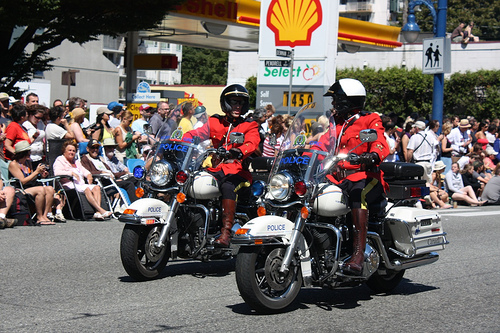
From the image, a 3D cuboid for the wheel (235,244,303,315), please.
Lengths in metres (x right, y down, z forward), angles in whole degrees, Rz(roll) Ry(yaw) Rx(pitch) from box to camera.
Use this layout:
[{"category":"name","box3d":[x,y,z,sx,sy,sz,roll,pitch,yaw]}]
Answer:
[{"category":"wheel","box3d":[0.298,1.321,7.938,0.973,1.051,0.328,4,-2,-30]}]

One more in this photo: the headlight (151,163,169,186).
[{"category":"headlight","box3d":[-1.343,0.107,9.209,0.305,0.298,0.295,-8,-7,44]}]

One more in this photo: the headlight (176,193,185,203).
[{"category":"headlight","box3d":[-1.025,0.452,9.132,0.124,0.146,0.082,1,8,-4]}]

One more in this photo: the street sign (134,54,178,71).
[{"category":"street sign","box3d":[-4.032,-4.532,26.592,2.114,0.671,0.626,4,8,22]}]

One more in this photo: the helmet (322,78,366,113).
[{"category":"helmet","box3d":[1.316,-1.015,8.691,0.664,0.503,0.491,-2,10,-3]}]

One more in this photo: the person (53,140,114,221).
[{"category":"person","box3d":[-3.782,0.274,14.016,1.220,1.777,0.747,-1,8,-15]}]

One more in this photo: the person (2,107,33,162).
[{"category":"person","box3d":[-5.122,-0.753,13.605,0.577,1.129,1.327,-1,8,-20]}]

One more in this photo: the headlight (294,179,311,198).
[{"category":"headlight","box3d":[0.667,0.277,7.913,0.164,0.222,0.201,8,10,40]}]

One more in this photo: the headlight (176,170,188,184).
[{"category":"headlight","box3d":[-1.005,0.149,9.184,0.173,0.187,0.066,0,8,-8]}]

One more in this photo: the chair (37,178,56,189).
[{"category":"chair","box3d":[-4.408,0.329,13.528,0.258,0.220,0.226,-23,13,-30]}]

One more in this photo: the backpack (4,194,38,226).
[{"category":"backpack","box3d":[-4.844,0.947,13.127,0.496,0.647,0.700,-2,-5,35]}]

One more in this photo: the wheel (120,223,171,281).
[{"category":"wheel","box3d":[-1.526,1.252,9.160,0.741,0.879,0.390,0,8,-13]}]

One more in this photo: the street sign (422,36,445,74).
[{"category":"street sign","box3d":[5.852,-3.585,19.754,0.128,1.158,0.892,-9,11,-40]}]

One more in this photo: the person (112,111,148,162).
[{"category":"person","box3d":[-3.117,-0.525,15.911,0.631,1.715,0.695,1,12,6]}]

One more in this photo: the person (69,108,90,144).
[{"category":"person","box3d":[-4.237,-1.015,15.407,0.618,1.038,0.804,2,31,-17]}]

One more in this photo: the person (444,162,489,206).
[{"category":"person","box3d":[6.266,0.507,18.047,0.608,1.348,1.404,-6,6,-28]}]

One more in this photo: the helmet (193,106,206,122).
[{"category":"helmet","box3d":[-0.766,-0.849,9.829,0.156,0.152,0.189,22,49,36]}]

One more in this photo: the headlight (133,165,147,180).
[{"category":"headlight","box3d":[-1.656,0.088,9.405,0.250,0.226,0.190,-3,9,-30]}]
